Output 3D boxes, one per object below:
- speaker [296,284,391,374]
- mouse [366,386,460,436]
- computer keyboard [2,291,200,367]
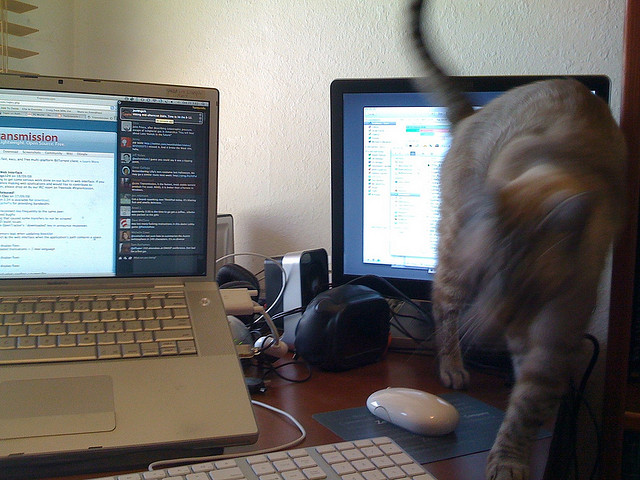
[{"bbox_3d":[0.046,0.127,0.923,0.198,0.121,0.166,4,25,-27],"label":"speaker"},{"bbox_3d":[0.116,0.205,0.676,0.078,0.038,0.126,-5,4,-44],"label":"mouse"},{"bbox_3d":[-0.258,0.101,0.634,0.222,0.072,0.088,-5,9,-11],"label":"computer keyboard"}]
